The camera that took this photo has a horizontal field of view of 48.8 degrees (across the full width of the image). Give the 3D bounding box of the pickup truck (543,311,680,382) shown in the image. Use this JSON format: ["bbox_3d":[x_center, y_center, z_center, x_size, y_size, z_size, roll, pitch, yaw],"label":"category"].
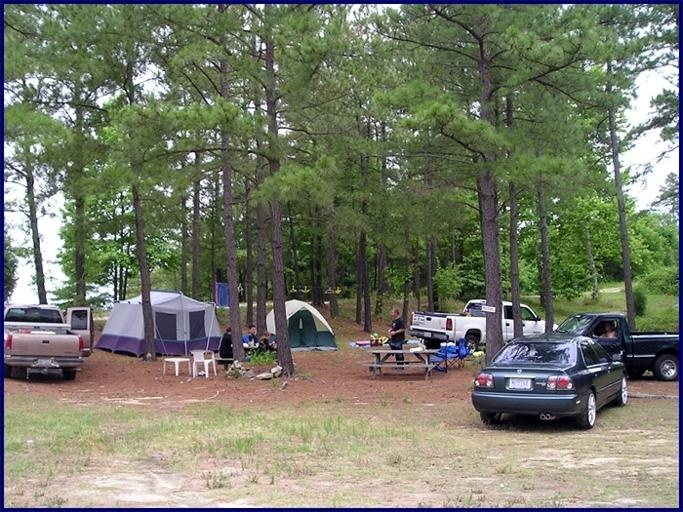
[{"bbox_3d":[8.322,2.580,22.076,3.257,1.630,2.325,2,-5,-7],"label":"pickup truck"}]

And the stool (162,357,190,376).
[{"bbox_3d":[-5.772,3.884,26.328,0.615,0.527,0.641,-2,-4,37],"label":"stool"}]

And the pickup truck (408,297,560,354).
[{"bbox_3d":[6.366,3.130,32.743,7.022,2.706,2.847,5,-2,-37],"label":"pickup truck"}]

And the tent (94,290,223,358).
[{"bbox_3d":[-7.554,2.811,31.948,4.742,2.911,3.102,0,-8,-11],"label":"tent"}]
